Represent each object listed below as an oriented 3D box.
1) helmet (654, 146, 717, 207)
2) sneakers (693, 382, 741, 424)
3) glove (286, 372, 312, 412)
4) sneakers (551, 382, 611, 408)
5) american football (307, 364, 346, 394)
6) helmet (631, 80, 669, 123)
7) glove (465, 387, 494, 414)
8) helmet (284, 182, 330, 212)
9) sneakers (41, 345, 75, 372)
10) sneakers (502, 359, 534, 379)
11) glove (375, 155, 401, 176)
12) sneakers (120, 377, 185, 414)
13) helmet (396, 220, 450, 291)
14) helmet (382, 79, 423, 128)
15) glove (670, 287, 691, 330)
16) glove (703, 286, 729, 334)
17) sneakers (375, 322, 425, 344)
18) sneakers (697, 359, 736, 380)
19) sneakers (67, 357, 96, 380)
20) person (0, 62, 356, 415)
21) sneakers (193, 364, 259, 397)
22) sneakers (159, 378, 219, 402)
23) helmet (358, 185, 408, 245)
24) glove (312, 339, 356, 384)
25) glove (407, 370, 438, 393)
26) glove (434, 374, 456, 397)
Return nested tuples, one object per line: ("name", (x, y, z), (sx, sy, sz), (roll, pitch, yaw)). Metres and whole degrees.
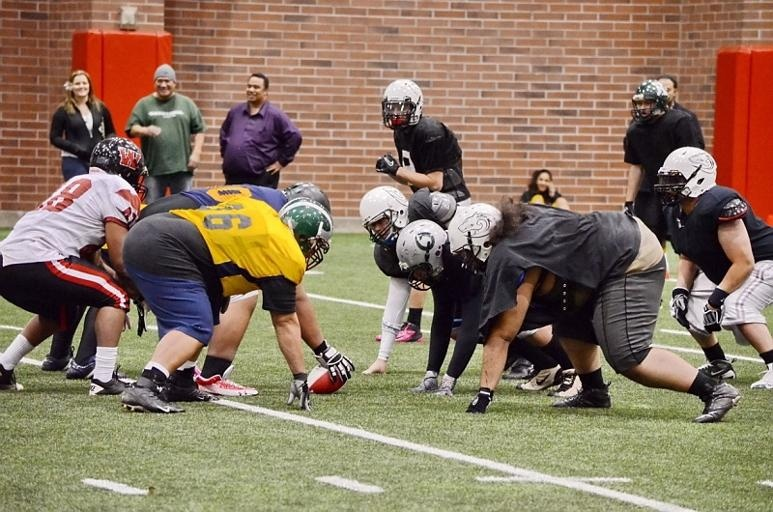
("helmet", (2.125, -0.578, 7.452), (0.416, 0.346, 0.333), (-1, 2, -5))
("sneakers", (2.185, 0.948, 6.980), (0.370, 0.239, 0.160), (-5, 10, -35))
("glove", (-0.576, 0.893, 7.089), (0.130, 0.308, 0.101), (-14, 12, -29))
("sneakers", (1.333, 0.965, 7.463), (0.475, 0.206, 0.156), (1, -2, 6))
("american football", (-0.412, 0.853, 7.446), (0.229, 0.120, 0.171), (6, -6, -39))
("helmet", (2.462, -1.419, 9.880), (0.318, 0.379, 0.369), (3, 9, 13))
("glove", (0.639, 0.964, 7.106), (0.114, 0.221, 0.093), (35, -4, 33))
("helmet", (-0.548, -0.338, 7.354), (0.263, 0.221, 0.245), (7, 20, -8))
("sneakers", (-2.415, 0.749, 8.053), (0.132, 0.169, 0.397), (2, 10, 19))
("sneakers", (1.037, 0.883, 8.310), (0.293, 0.214, 0.107), (3, -15, -4))
("glove", (0.020, -0.753, 8.952), (0.191, 0.194, 0.270), (1, 8, -1))
("sneakers", (-1.549, 0.903, 6.992), (0.449, 0.237, 0.157), (9, 1, -12))
("helmet", (0.253, -0.014, 7.382), (0.415, 0.452, 0.357), (-4, 0, -13))
("helmet", (0.157, -1.278, 9.080), (0.317, 0.327, 0.399), (1, 9, 20))
("glove", (2.206, 0.393, 8.025), (0.109, 0.255, 0.258), (4, 5, 16))
("glove", (2.330, 0.384, 7.542), (0.127, 0.301, 0.172), (-4, -2, -33))
("sneakers", (0.125, 0.671, 9.321), (0.487, 0.211, 0.160), (5, -8, -35))
("sneakers", (2.504, 0.843, 7.999), (0.323, 0.139, 0.111), (7, -1, 4))
("sneakers", (-2.214, 0.809, 7.772), (0.119, 0.110, 0.246), (3, 6, 4))
("person", (-1.305, 0.269, 6.984), (2.013, 1.047, 1.458), (-8, 15, -38))
("sneakers", (-1.125, 0.859, 7.513), (0.529, 0.246, 0.176), (7, -1, -9))
("sneakers", (-1.356, 0.913, 7.307), (0.411, 0.176, 0.138), (4, 0, -17))
("helmet", (-0.006, -0.275, 7.759), (0.341, 0.425, 0.322), (1, 8, 0))
("glove", (-0.357, 0.754, 7.454), (0.325, 0.221, 0.114), (41, -30, -3))
("glove", (0.272, 0.916, 7.656), (0.228, 0.149, 0.103), (0, -4, -2))
("glove", (0.424, 0.920, 7.603), (0.094, 0.175, 0.180), (30, 1, 6))
